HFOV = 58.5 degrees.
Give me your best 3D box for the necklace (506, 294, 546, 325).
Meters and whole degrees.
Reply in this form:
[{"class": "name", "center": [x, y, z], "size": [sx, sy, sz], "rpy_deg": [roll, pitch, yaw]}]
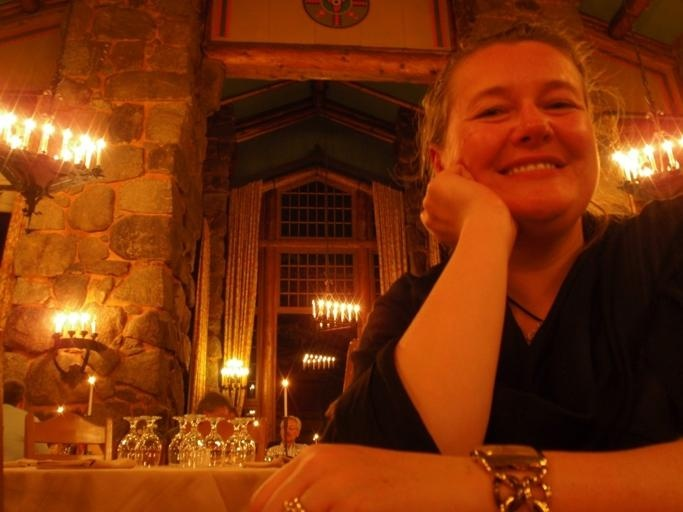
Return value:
[{"class": "necklace", "center": [0.572, 0.164, 1.877], "size": [0.141, 0.019, 0.020], "rpy_deg": [41, -28, 26]}]
